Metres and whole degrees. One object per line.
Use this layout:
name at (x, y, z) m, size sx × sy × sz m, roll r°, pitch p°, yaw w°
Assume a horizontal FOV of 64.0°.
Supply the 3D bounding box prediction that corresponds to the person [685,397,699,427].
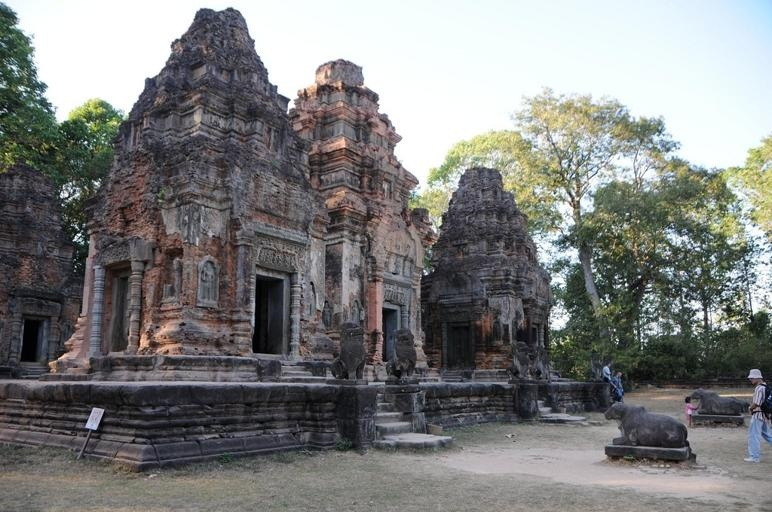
person at (9.065, 4.633, 18.364) m, size 0.277 × 0.718 × 1.411 m, roll 4°, pitch 2°, yaw 28°

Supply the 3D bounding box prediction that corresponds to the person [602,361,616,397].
person at (8.515, 4.731, 23.595) m, size 0.576 × 0.913 × 1.087 m, roll 3°, pitch 2°, yaw 18°
